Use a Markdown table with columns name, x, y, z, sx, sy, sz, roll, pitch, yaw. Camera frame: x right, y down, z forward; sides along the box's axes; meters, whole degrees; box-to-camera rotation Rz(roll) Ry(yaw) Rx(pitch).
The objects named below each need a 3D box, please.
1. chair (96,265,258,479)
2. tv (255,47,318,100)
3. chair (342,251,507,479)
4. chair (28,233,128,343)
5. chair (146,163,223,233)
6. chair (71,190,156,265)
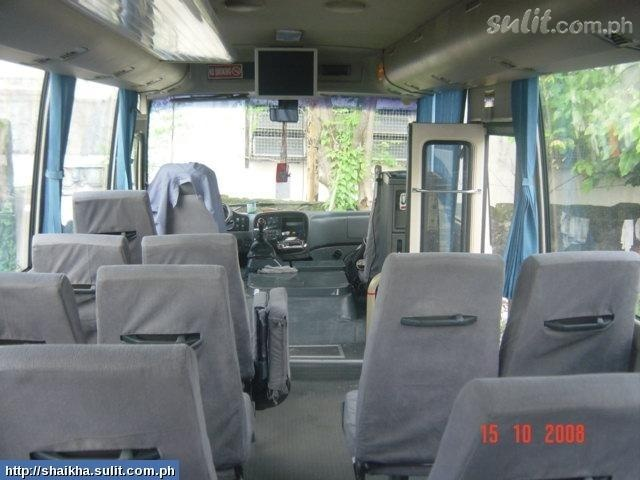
| name | x | y | z | sx | sy | sz | roll | pitch | yaw |
| --- | --- | --- | --- | --- | --- | --- | --- | --- | --- |
| chair | -0.493 | 0.431 | 2.182 | 0.560 | 0.979 | 0.812 | -2 | 5 | 1 |
| tv | -0.348 | -1.723 | 5.717 | 0.490 | 0.383 | 0.052 | 0 | 3 | 0 |
| chair | 0.372 | 0.476 | 2.468 | 0.616 | 1.096 | 0.931 | 1 | 11 | -4 |
| chair | -1.513 | 0.313 | 3.740 | 0.694 | 0.794 | 0.759 | 1 | 5 | -1 |
| chair | -1.453 | -0.469 | 6.086 | 0.781 | 0.811 | 0.617 | -1 | 16 | -9 |
| chair | -1.752 | -0.053 | 4.866 | 0.658 | 0.621 | 0.679 | 0 | 0 | -9 |
